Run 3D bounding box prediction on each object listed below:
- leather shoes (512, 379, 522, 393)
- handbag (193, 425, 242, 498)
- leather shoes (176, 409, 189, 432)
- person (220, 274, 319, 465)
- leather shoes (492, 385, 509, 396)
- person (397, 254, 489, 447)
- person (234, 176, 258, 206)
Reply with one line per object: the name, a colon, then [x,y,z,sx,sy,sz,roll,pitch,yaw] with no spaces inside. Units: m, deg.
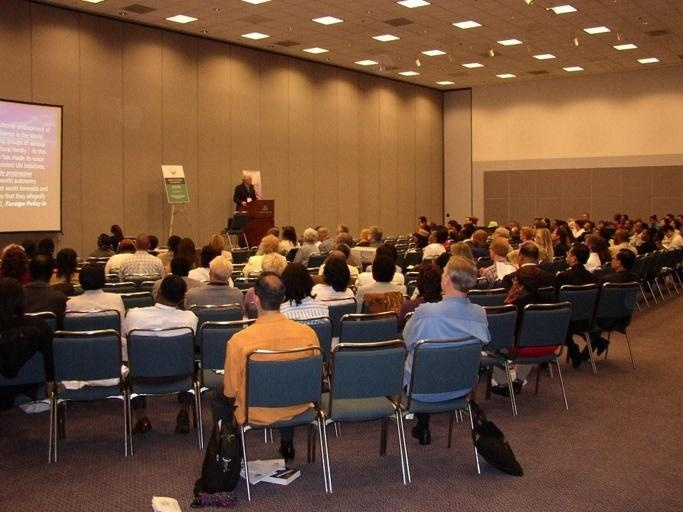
leather shoes: [1.921,1.408,5.976,0.113,0.159,0.147,2,9,11]
handbag: [-0.896,1.470,3.878,0.348,0.599,0.214,-4,8,-20]
leather shoes: [-1.491,1.542,5.070,0.078,0.115,0.249,0,15,-8]
person: [-0.569,0.938,4.094,0.773,1.614,0.496,-3,8,-17]
leather shoes: [1.740,1.445,5.919,0.160,0.063,0.101,-4,6,-37]
person: [0.876,0.864,4.550,0.726,1.661,0.790,-1,8,3]
person: [-2.828,-1.954,16.238,0.753,0.916,0.849,-5,9,-23]
